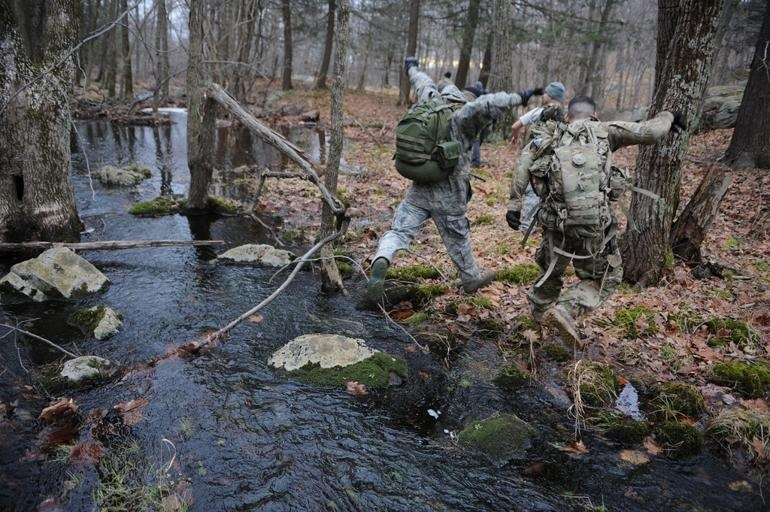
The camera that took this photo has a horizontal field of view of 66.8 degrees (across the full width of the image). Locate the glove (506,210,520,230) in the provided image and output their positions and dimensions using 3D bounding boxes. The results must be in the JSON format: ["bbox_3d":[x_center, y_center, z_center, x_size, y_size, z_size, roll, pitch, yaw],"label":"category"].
[{"bbox_3d":[1.941,-0.553,8.844,0.229,0.275,0.281,3,-2,11],"label":"glove"}]
